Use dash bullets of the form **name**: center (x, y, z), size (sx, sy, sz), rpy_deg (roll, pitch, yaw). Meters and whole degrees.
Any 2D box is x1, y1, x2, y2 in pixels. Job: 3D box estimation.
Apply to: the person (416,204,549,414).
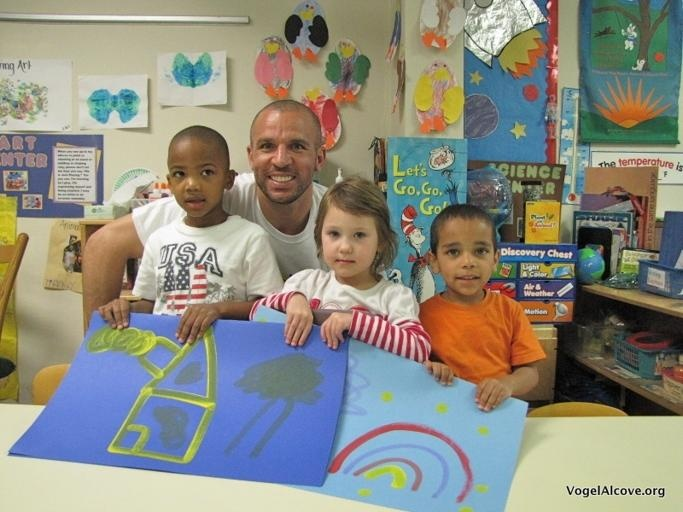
- **person**: center (0.427, 0.230, 1.900), size (0.517, 0.794, 0.466), rpy_deg (-2, -1, 10)
